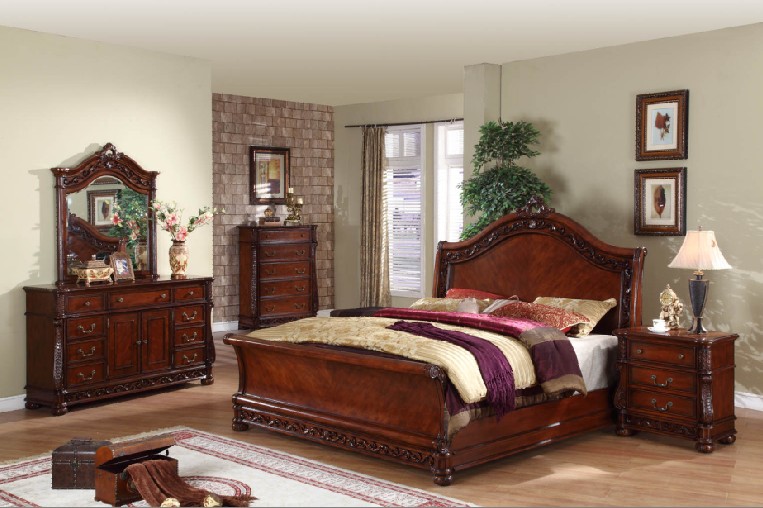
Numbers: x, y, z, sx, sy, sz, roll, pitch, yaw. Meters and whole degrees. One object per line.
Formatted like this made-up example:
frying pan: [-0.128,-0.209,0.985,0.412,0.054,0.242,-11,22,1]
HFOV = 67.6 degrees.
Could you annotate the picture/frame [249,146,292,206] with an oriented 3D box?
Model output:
picture/frame: [-1.826,-1.278,9.431,0.895,0.945,0.066,9,16,32]

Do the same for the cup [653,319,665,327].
cup: [2.449,0.606,5.046,0.090,0.037,0.103,0,2,-44]

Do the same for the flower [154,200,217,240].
flower: [-2.259,-0.387,6.589,0.618,0.307,0.519,3,7,18]

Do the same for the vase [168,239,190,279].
vase: [-2.259,0.054,6.352,0.188,0.423,0.279,-1,3,-22]

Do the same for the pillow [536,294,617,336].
pillow: [1.892,0.651,5.448,0.766,0.134,0.677,-10,1,-41]

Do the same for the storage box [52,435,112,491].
storage box: [-2.002,1.399,3.868,0.401,0.207,0.358,1,0,-20]

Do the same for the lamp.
lamp: [2.894,0.223,5.172,0.457,0.880,0.810,2,3,30]

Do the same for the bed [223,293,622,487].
bed: [0.439,1.096,5.313,3.013,0.821,2.889,-2,0,-31]

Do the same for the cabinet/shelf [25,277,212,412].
cabinet/shelf: [-2.756,0.926,5.814,0.548,0.802,1.608,-1,-1,42]

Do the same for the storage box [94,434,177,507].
storage box: [-1.586,1.407,3.672,0.159,0.260,0.434,-3,-3,40]
